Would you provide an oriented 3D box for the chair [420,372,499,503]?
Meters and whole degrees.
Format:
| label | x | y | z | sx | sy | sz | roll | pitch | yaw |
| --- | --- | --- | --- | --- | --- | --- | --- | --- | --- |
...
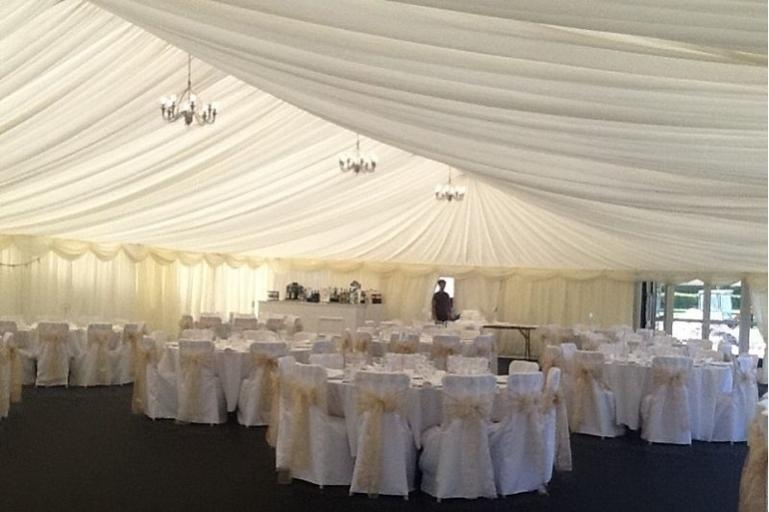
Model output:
| label | x | y | z | sx | sy | sz | roll | pitch | yaw |
| --- | --- | --- | --- | --- | --- | --- | --- | --- | --- |
| chair | 0.920 | 2.208 | 8.659 | 0.948 | 1.501 | 0.960 | 3 | -1 | -4 |

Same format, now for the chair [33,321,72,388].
| label | x | y | z | sx | sy | sz | roll | pitch | yaw |
| --- | --- | --- | --- | --- | --- | --- | --- | --- | --- |
| chair | -5.997 | 1.786 | 12.472 | 0.564 | 1.132 | 0.350 | -2 | 9 | -21 |

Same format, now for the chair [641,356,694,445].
| label | x | y | z | sx | sy | sz | roll | pitch | yaw |
| --- | --- | --- | --- | --- | --- | --- | --- | --- | --- |
| chair | 4.205 | 2.149 | 10.282 | 0.685 | 1.260 | 0.460 | 3 | 9 | 14 |

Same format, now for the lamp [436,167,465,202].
| label | x | y | z | sx | sy | sz | roll | pitch | yaw |
| --- | --- | --- | --- | --- | --- | --- | --- | --- | --- |
| lamp | 1.427 | -1.545 | 15.099 | 0.580 | 0.748 | 1.156 | 2 | 8 | 4 |

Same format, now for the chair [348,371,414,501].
| label | x | y | z | sx | sy | sz | roll | pitch | yaw |
| --- | --- | --- | --- | --- | --- | --- | --- | --- | --- |
| chair | 0.000 | 2.139 | 8.355 | 0.766 | 1.430 | 0.579 | 1 | 8 | 2 |

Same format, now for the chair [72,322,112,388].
| label | x | y | z | sx | sy | sz | roll | pitch | yaw |
| --- | --- | --- | --- | --- | --- | --- | --- | --- | --- |
| chair | -5.343 | 1.827 | 12.661 | 0.691 | 1.130 | 0.352 | -3 | 9 | -27 |

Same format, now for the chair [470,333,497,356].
| label | x | y | z | sx | sy | sz | roll | pitch | yaw |
| --- | --- | --- | --- | --- | --- | --- | --- | --- | --- |
| chair | 1.959 | 1.765 | 13.573 | 0.389 | 0.446 | 0.435 | -2 | -1 | 24 |

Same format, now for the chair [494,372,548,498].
| label | x | y | z | sx | sy | sz | roll | pitch | yaw |
| --- | --- | --- | --- | --- | --- | --- | --- | --- | --- |
| chair | 1.643 | 2.188 | 8.481 | 0.689 | 1.414 | 0.402 | -1 | 8 | -12 |

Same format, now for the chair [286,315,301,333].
| label | x | y | z | sx | sy | sz | roll | pitch | yaw |
| --- | --- | --- | --- | --- | --- | --- | --- | --- | --- |
| chair | -2.059 | 1.549 | 15.417 | 0.275 | 0.397 | 0.371 | -10 | 11 | -43 |

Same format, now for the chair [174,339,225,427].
| label | x | y | z | sx | sy | sz | roll | pitch | yaw |
| --- | --- | --- | --- | --- | --- | --- | --- | --- | --- |
| chair | -2.789 | 1.920 | 10.495 | 0.710 | 1.248 | 0.471 | -1 | 9 | -15 |

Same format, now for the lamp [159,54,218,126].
| label | x | y | z | sx | sy | sz | roll | pitch | yaw |
| --- | --- | --- | --- | --- | --- | --- | --- | --- | --- |
| lamp | -3.009 | -2.758 | 10.639 | 0.724 | 1.455 | 0.794 | 0 | 8 | -9 |

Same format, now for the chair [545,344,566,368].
| label | x | y | z | sx | sy | sz | roll | pitch | yaw |
| --- | --- | --- | --- | --- | --- | --- | --- | --- | --- |
| chair | 2.911 | 1.691 | 11.544 | 0.349 | 0.398 | 0.391 | 2 | -9 | -5 |

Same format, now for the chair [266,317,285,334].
| label | x | y | z | sx | sy | sz | roll | pitch | yaw |
| --- | --- | --- | --- | --- | --- | --- | --- | --- | --- |
| chair | -2.204 | 1.454 | 14.316 | 0.264 | 0.232 | 0.395 | 11 | -3 | -34 |

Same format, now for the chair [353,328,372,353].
| label | x | y | z | sx | sy | sz | roll | pitch | yaw |
| --- | --- | --- | --- | --- | --- | --- | --- | --- | --- |
| chair | -0.408 | 1.603 | 12.862 | 0.310 | 0.336 | 0.307 | 4 | 9 | 17 |

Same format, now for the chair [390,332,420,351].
| label | x | y | z | sx | sy | sz | roll | pitch | yaw |
| --- | --- | --- | --- | --- | --- | --- | --- | --- | --- |
| chair | 0.362 | 1.628 | 12.868 | 0.528 | 0.376 | 0.687 | 1 | 9 | -4 |

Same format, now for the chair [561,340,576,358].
| label | x | y | z | sx | sy | sz | roll | pitch | yaw |
| --- | --- | --- | --- | --- | --- | --- | --- | --- | --- |
| chair | 3.032 | 1.567 | 11.427 | 0.198 | 0.126 | 0.309 | 2 | -1 | -4 |

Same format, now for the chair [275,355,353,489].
| label | x | y | z | sx | sy | sz | roll | pitch | yaw |
| --- | --- | --- | --- | --- | --- | --- | --- | --- | --- |
| chair | -0.889 | 2.115 | 9.195 | 1.206 | 1.677 | 1.287 | 2 | 1 | 35 |

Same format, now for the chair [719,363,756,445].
| label | x | y | z | sx | sy | sz | roll | pitch | yaw |
| --- | --- | --- | --- | --- | --- | --- | --- | --- | --- |
| chair | 5.343 | 2.190 | 10.492 | 0.477 | 1.234 | 0.480 | 4 | 9 | 19 |

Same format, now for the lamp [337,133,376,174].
| label | x | y | z | sx | sy | sz | roll | pitch | yaw |
| --- | --- | --- | --- | --- | --- | --- | --- | --- | --- |
| lamp | -0.538 | -1.845 | 12.940 | 0.657 | 0.937 | 0.680 | 2 | 2 | -19 |
